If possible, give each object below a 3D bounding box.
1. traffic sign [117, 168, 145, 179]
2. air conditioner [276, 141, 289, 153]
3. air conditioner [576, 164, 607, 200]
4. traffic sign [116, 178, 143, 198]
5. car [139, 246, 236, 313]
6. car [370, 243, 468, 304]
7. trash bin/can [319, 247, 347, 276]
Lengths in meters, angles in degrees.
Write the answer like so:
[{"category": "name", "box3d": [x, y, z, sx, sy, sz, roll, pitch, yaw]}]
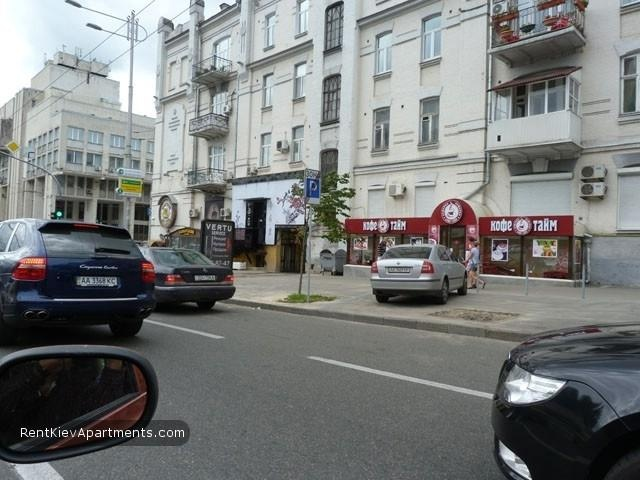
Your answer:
[{"category": "traffic sign", "box3d": [-8.626, -3.050, 26.087, 0.821, 0.348, 0.644, 4, 1, -5]}, {"category": "air conditioner", "box3d": [-2.093, -5.251, 32.026, 0.445, 0.718, 0.868, -1, 2, -39]}, {"category": "air conditioner", "box3d": [9.637, -2.074, 20.254, 0.789, 1.635, 1.065, 7, -6, -39]}, {"category": "traffic sign", "box3d": [-8.849, -2.527, 26.680, 0.838, 0.795, 1.574, 0, 1, -4]}, {"category": "car", "box3d": [-2.821, 0.790, 12.295, 0.988, 0.859, 2.368, 1, 0, -34]}, {"category": "car", "box3d": [2.795, 0.848, 15.267, 1.135, 1.074, 2.791, -2, -2, 25]}, {"category": "trash bin/can", "box3d": [0.769, 1.241, 28.015, 1.566, 1.644, 1.010, -5, -9, 40]}]
